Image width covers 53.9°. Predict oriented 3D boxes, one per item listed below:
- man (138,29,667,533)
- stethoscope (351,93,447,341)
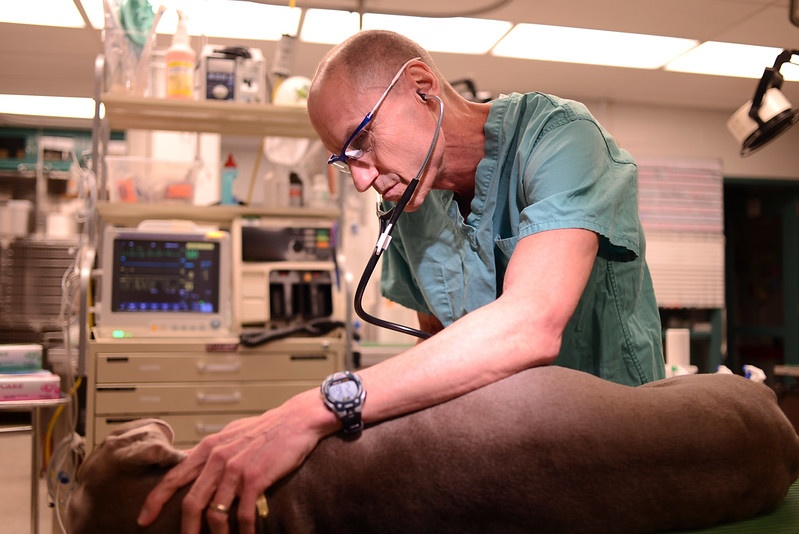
[{"bbox_3d":[-0.144,0.028,3.284,1.929,1.890,1.230,-10,-10,-13],"label":"man"},{"bbox_3d":[0.069,-0.171,2.787,0.139,0.768,0.384,27,-18,-29],"label":"stethoscope"}]
